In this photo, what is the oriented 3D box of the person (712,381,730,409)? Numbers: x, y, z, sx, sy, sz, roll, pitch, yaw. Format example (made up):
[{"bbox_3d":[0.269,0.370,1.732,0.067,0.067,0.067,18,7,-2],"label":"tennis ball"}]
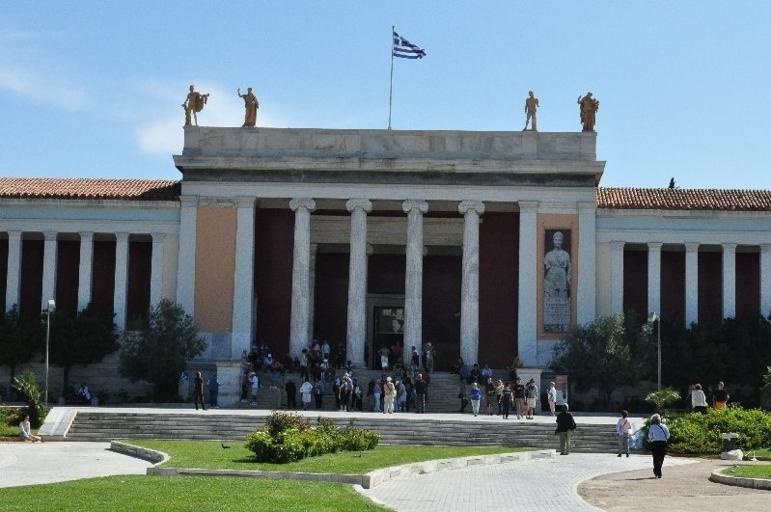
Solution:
[{"bbox_3d":[14.526,6.030,59.517,0.540,1.234,1.284,-1,-9,12],"label":"person"}]

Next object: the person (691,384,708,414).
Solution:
[{"bbox_3d":[13.697,6.181,59.948,0.711,1.366,2.295,-1,-9,12],"label":"person"}]

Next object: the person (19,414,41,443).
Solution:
[{"bbox_3d":[-15.293,7.390,59.196,0.900,1.204,1.719,3,-10,-15],"label":"person"}]
